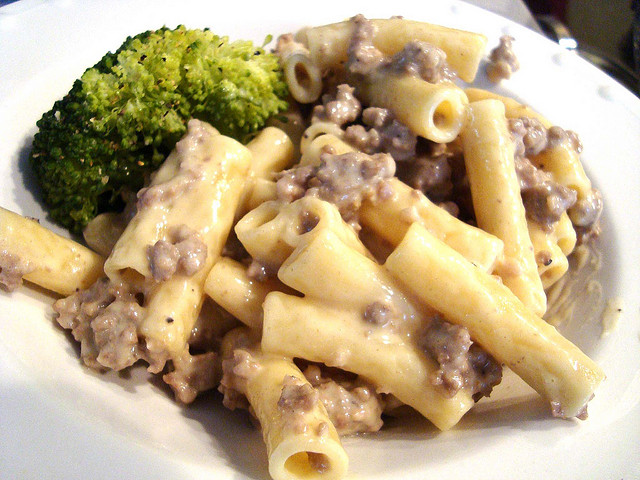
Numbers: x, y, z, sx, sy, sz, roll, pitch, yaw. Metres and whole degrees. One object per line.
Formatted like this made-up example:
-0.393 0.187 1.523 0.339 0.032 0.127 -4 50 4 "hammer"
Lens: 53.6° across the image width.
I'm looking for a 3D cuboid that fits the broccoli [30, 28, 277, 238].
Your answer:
-0.544 -0.432 2.075 0.891 0.347 0.382 -31 71 -14 "broccoli"
